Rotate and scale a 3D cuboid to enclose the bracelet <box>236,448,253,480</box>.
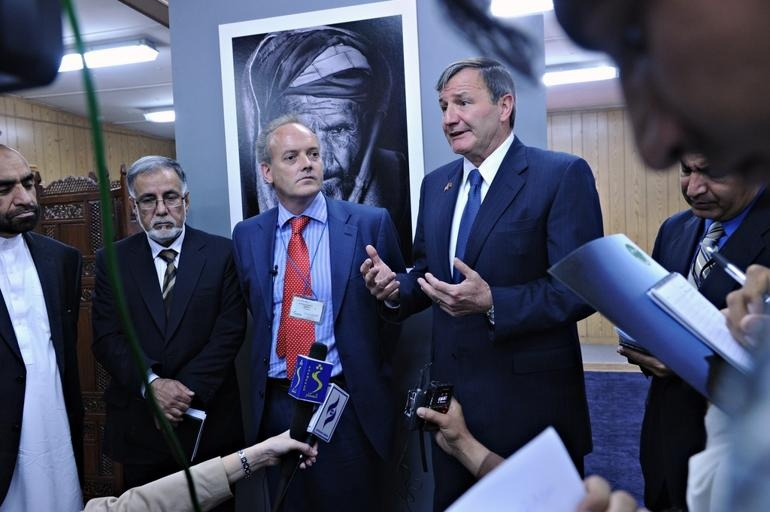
[{"bbox_3d":[-0.410,0.606,1.615,0.040,0.071,0.069,-17,35,-28],"label":"bracelet"}]

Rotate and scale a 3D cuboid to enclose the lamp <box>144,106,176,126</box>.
[{"bbox_3d":[-3.438,-2.147,8.349,0.377,0.196,1.126,-7,13,-18],"label":"lamp"}]

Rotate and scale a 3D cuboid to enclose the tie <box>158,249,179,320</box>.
[{"bbox_3d":[-0.962,0.119,2.436,0.091,0.292,0.022,-1,-30,0],"label":"tie"}]

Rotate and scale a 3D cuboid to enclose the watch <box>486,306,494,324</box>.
[{"bbox_3d":[0.353,0.193,1.801,0.021,0.051,0.039,1,10,44],"label":"watch"}]

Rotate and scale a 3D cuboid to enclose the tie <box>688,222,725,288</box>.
[{"bbox_3d":[1.006,0.002,1.699,0.046,0.218,0.056,5,-25,32],"label":"tie"}]
